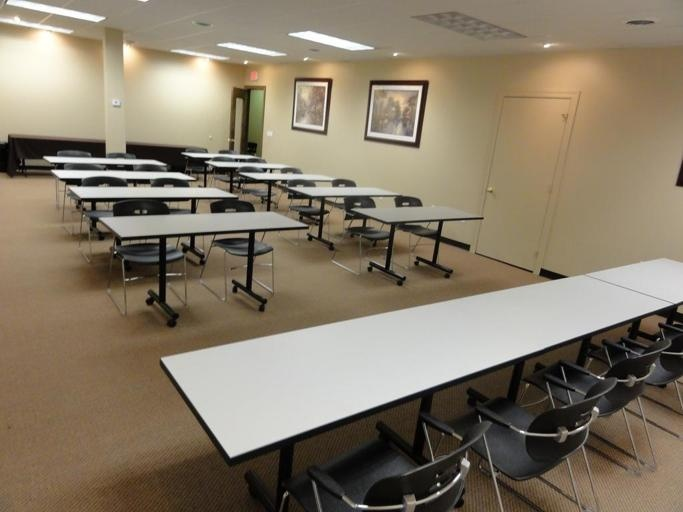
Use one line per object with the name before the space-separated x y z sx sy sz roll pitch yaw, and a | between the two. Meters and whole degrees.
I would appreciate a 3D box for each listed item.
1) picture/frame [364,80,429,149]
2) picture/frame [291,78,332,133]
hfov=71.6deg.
picture/frame | 1.155 -2.849 9.531 0.050 1.221 1.271 -3 20 -39
picture/frame | -0.776 -3.673 11.695 1.266 1.264 0.068 20 20 40
